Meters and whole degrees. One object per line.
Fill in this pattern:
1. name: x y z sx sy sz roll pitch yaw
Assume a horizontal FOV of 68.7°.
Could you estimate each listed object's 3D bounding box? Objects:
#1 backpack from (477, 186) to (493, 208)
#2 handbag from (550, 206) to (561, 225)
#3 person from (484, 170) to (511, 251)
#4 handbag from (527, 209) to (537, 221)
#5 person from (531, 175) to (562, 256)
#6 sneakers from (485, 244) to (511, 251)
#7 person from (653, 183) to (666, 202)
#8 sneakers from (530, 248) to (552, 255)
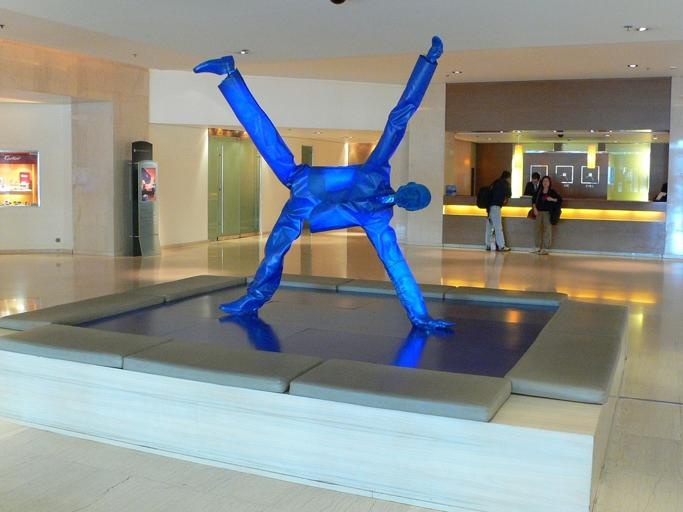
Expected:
1. backpack: 3.506 -1.418 12.282 0.309 0.548 0.446 1 7 14
2. handbag: 5.131 -0.929 11.920 0.168 0.425 0.458 3 7 29
3. person: 3.853 -1.071 12.254 0.553 1.916 0.587 1 7 16
4. handbag: 4.559 -0.995 11.992 0.190 0.216 0.241 0 -2 -1
5. person: 4.847 -0.938 11.824 0.623 1.780 0.355 2 7 22
6. sneakers: 3.883 -0.175 12.410 0.624 0.247 0.209 0 4 12
7. person: 7.597 -1.488 11.826 0.215 0.424 0.819 4 8 32
8. sneakers: 4.759 -0.086 11.939 0.460 0.194 0.159 8 10 43
